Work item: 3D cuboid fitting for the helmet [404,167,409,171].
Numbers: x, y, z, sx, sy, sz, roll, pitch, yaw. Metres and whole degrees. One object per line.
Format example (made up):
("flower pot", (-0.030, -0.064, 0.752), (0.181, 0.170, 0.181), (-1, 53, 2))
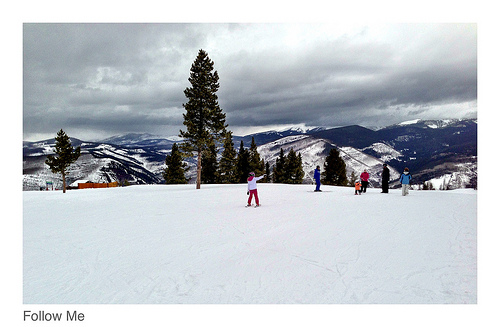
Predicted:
("helmet", (11.930, 0.472, 27.106), (0.320, 0.231, 0.437), (-10, -2, 10))

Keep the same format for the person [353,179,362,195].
("person", (8.748, 1.932, 28.762), (0.488, 0.957, 1.989), (-1, 0, 18))
